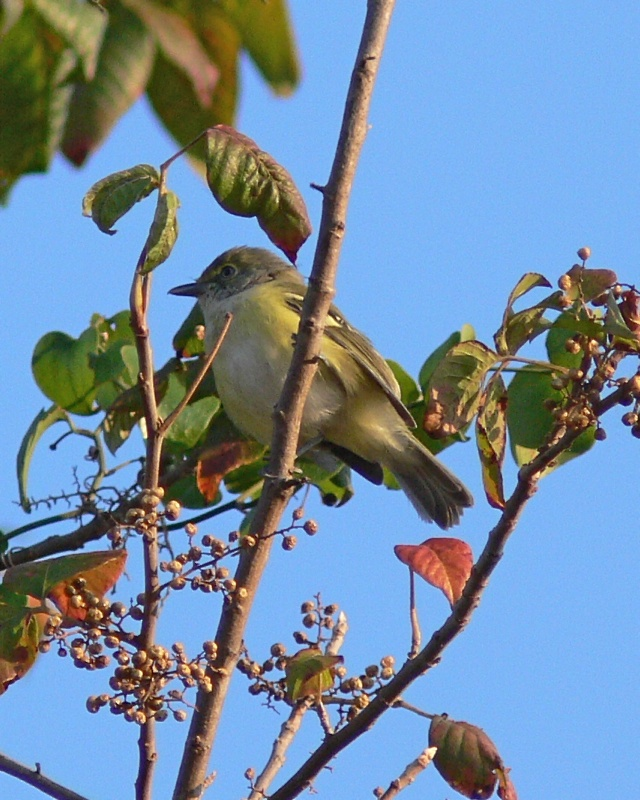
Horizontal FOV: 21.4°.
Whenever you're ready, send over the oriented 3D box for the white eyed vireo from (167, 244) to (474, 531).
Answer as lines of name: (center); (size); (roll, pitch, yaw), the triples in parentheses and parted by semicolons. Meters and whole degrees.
white eyed vireo: (0.006, -0.108, 5.804); (0.989, 0.844, 0.515); (11, -37, -17)
